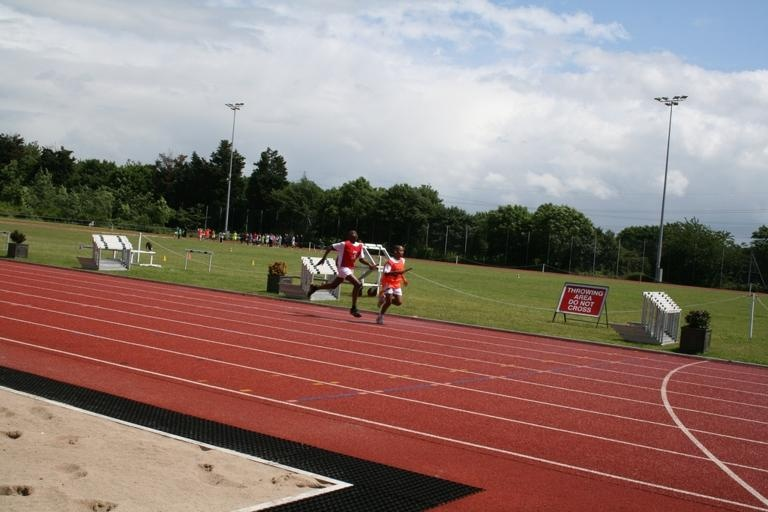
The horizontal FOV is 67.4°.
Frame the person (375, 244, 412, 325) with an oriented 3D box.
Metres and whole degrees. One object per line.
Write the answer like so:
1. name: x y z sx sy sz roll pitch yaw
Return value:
1. person: 0.301 0.758 15.855 0.959 2.156 1.014 1 -4 -37
